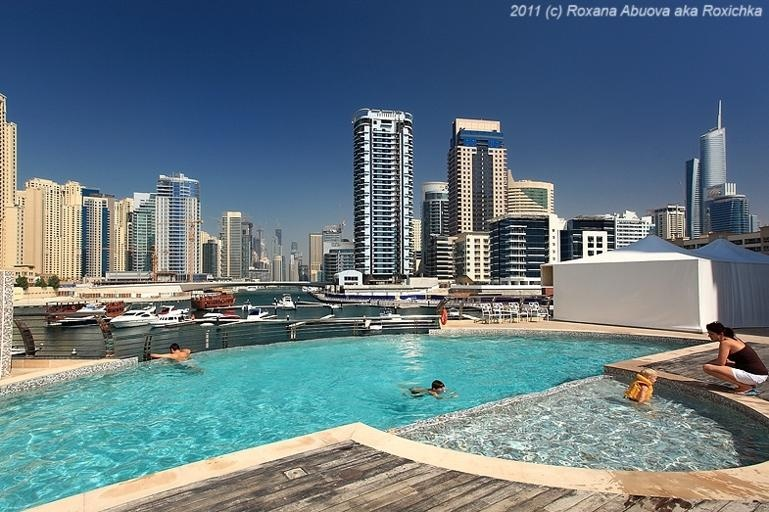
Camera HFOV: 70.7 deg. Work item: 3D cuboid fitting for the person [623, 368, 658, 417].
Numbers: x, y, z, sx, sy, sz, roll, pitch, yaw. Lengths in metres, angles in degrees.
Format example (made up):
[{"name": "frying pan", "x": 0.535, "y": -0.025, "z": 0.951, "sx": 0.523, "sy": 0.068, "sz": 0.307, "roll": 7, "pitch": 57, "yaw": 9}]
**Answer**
[{"name": "person", "x": 7.623, "y": 3.991, "z": 16.172, "sx": 0.865, "sy": 0.999, "sz": 1.448, "roll": -3, "pitch": -2, "yaw": 23}]
